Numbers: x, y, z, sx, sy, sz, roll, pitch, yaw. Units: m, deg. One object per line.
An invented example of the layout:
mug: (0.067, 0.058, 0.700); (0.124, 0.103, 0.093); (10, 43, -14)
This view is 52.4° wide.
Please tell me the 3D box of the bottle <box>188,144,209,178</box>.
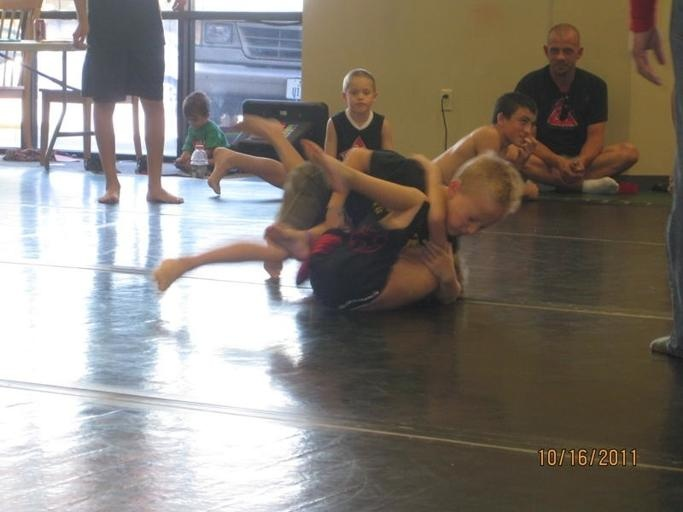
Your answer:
bottle: (-0.967, -0.654, 4.735); (0.144, 0.209, 0.137); (2, 8, 0)

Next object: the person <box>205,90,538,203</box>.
person: (0.137, -0.395, 2.806); (1.302, 0.456, 0.456); (-1, 5, 0)

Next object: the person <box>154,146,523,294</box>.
person: (0.007, -0.072, 1.550); (0.811, 0.341, 0.234); (3, 8, -28)
